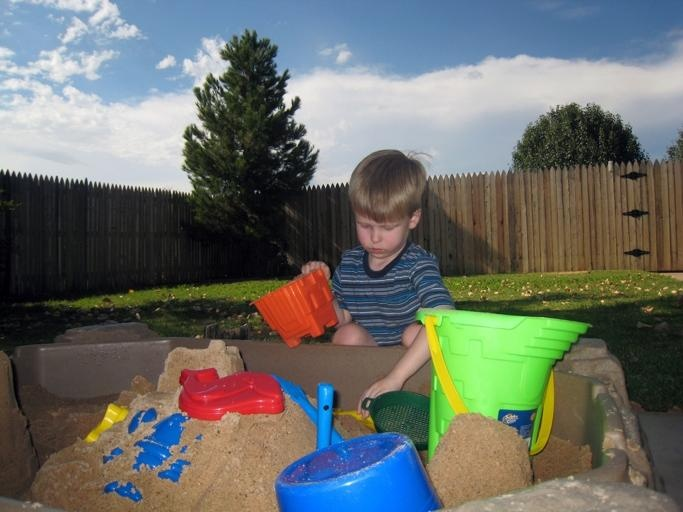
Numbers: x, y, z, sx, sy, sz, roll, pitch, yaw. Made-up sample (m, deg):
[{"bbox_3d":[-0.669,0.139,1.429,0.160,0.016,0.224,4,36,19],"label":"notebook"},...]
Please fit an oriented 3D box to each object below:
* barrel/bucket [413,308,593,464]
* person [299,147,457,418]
[{"bbox_3d":[0.552,0.370,2.035,0.492,0.457,0.490,0,-9,0],"label":"barrel/bucket"},{"bbox_3d":[0.169,0.191,2.928,0.644,1.411,0.939,-3,13,-9],"label":"person"}]
